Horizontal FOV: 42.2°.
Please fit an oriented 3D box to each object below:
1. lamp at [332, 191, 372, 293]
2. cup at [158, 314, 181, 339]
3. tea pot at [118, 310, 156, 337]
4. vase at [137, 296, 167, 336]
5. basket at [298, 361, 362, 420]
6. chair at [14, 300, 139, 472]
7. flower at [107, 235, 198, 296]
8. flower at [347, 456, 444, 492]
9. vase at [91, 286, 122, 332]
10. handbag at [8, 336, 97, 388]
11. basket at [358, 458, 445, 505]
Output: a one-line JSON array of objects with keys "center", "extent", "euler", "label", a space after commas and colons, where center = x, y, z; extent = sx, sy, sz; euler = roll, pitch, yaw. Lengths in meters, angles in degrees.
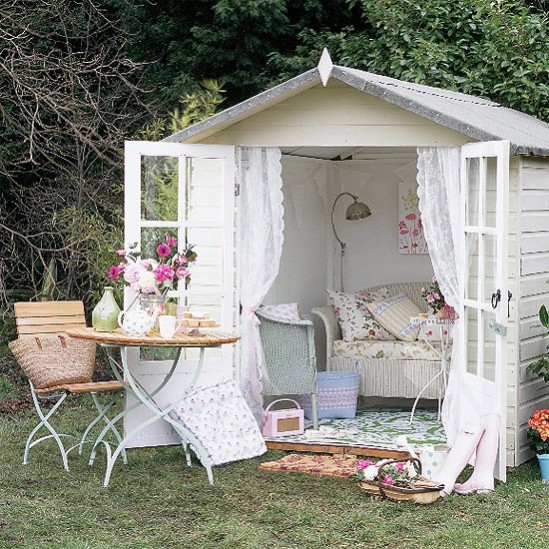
[{"center": [0.774, -0.331, 7.161], "extent": [0.353, 1.034, 0.603], "euler": [0, 1, -7], "label": "lamp"}, {"center": [-0.636, 0.324, 4.361], "extent": [0.141, 0.140, 0.093], "euler": [2, -4, -10], "label": "cup"}, {"center": [-0.841, 0.303, 4.400], "extent": [0.208, 0.149, 0.147], "euler": [0, 5, -2], "label": "tea pot"}, {"center": [-0.762, 0.250, 4.453], "extent": [0.247, 0.282, 0.202], "euler": [1, -15, -4], "label": "vase"}, {"center": [0.463, 0.986, 5.977], "extent": [0.436, 0.299, 0.364], "euler": [-4, 2, -18], "label": "basket"}, {"center": [-1.366, 0.734, 4.723], "extent": [0.635, 1.037, 0.750], "euler": [1, 3, -41], "label": "chair"}, {"center": [-0.798, -0.065, 4.786], "extent": [0.543, 0.402, 0.649], "euler": [0, 1, -6], "label": "flower"}, {"center": [0.676, 1.152, 4.099], "extent": [0.279, 0.112, 0.213], "euler": [-1, -1, 29], "label": "flower"}, {"center": [-1.071, 0.223, 4.565], "extent": [0.163, 0.278, 0.255], "euler": [0, 1, -14], "label": "vase"}, {"center": [-1.425, 0.557, 4.744], "extent": [0.396, 0.136, 0.408], "euler": [-1, 31, -37], "label": "handbag"}, {"center": [0.720, 1.182, 4.049], "extent": [0.230, 0.190, 0.403], "euler": [2, -4, -45], "label": "basket"}]
